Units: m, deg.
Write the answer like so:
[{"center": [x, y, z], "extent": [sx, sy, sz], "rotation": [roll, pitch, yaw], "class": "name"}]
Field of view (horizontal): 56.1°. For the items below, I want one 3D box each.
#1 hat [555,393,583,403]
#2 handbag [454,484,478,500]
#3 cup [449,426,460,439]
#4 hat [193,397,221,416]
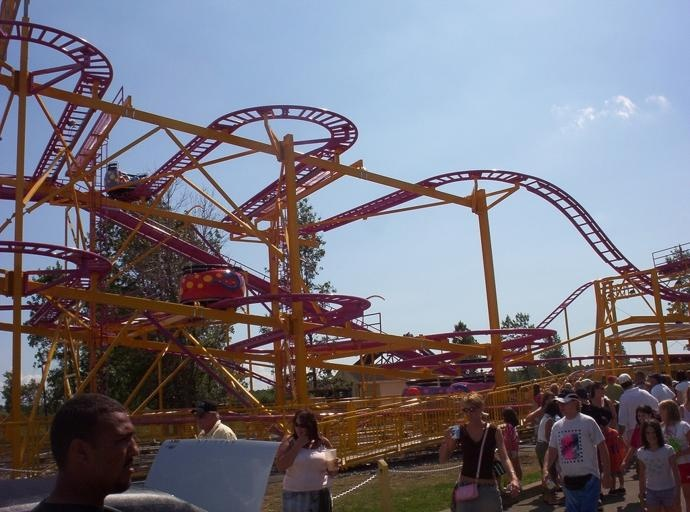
[{"center": [2.428, 1.567, 6.999], "extent": [0.219, 0.108, 0.136], "rotation": [13, -20, -17], "class": "hat"}, {"center": [1.156, 2.241, 6.148], "extent": [0.162, 0.109, 0.063], "rotation": [-19, -43, 31], "class": "handbag"}, {"center": [1.102, 1.749, 6.430], "extent": [0.125, 0.131, 0.130], "rotation": [-1, -17, 0], "class": "cup"}, {"center": [-1.495, 1.610, 6.957], "extent": [0.247, 0.108, 0.160], "rotation": [4, -15, -11], "class": "hat"}]
